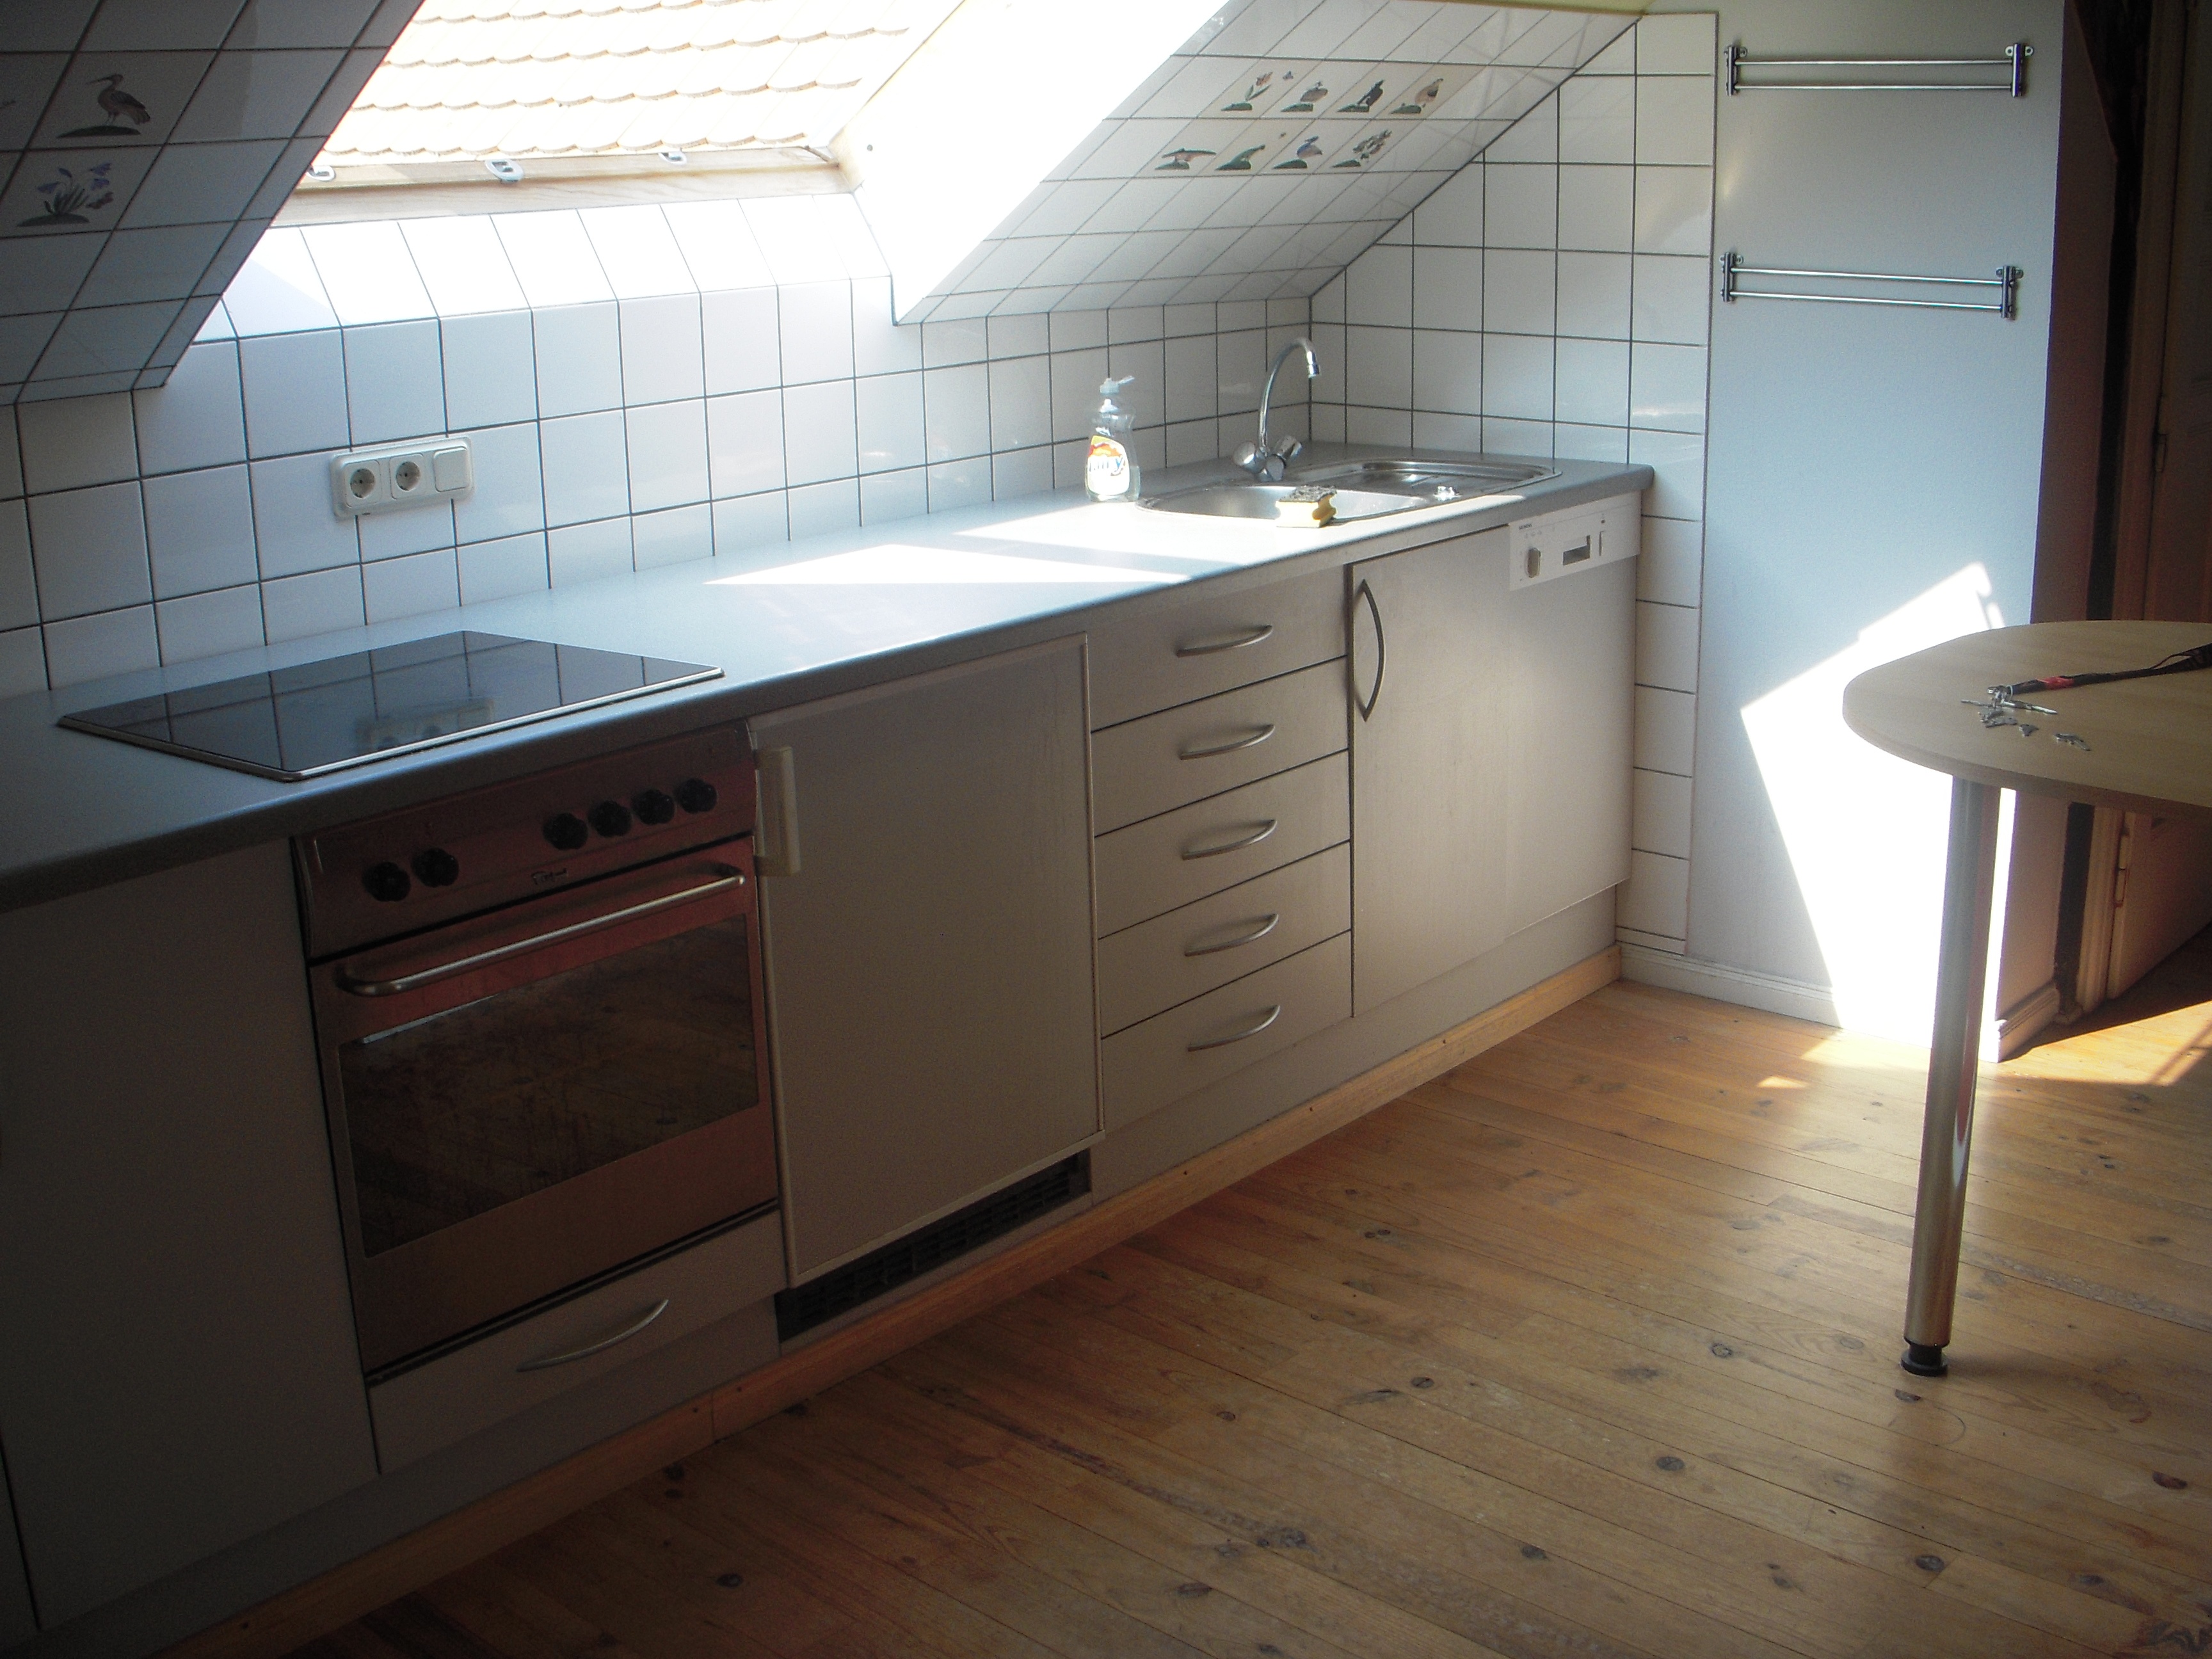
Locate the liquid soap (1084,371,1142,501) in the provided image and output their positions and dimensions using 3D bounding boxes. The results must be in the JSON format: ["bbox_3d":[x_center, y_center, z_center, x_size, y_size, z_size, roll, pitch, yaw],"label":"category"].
[{"bbox_3d":[0.003,-0.779,3.438,0.094,0.237,0.111,-7,16,-3],"label":"liquid soap"}]

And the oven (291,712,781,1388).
[{"bbox_3d":[-0.895,0.282,2.323,0.595,0.805,0.692,10,18,39],"label":"oven"}]

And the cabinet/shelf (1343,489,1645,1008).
[{"bbox_3d":[0.662,-0.225,3.751,0.584,0.931,1.144,11,20,44],"label":"cabinet/shelf"}]
